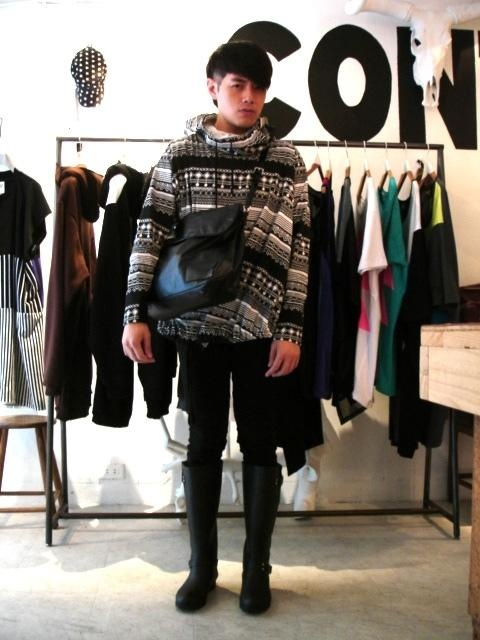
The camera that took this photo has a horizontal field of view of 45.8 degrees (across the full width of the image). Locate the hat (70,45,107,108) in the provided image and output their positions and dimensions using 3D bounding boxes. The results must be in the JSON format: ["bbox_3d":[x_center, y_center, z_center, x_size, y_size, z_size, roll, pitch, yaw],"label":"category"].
[{"bbox_3d":[-0.613,-0.970,2.296,0.135,0.219,0.185,1,-1,-15],"label":"hat"}]

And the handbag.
[{"bbox_3d":[-0.093,-0.129,1.337,0.080,0.235,0.201,27,-31,-37],"label":"handbag"}]

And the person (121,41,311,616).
[{"bbox_3d":[-0.072,0.009,1.460,0.446,1.470,0.399,0,-1,23],"label":"person"}]
